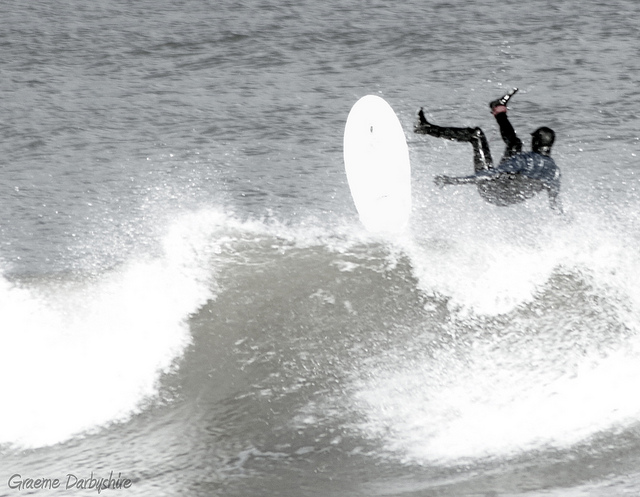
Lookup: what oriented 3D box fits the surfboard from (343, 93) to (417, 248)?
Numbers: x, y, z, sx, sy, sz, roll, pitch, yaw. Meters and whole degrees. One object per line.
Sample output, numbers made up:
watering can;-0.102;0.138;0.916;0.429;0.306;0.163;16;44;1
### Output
surfboard;0.962;-1.521;20.057;0.981;2.375;1.368;-7;30;-16
